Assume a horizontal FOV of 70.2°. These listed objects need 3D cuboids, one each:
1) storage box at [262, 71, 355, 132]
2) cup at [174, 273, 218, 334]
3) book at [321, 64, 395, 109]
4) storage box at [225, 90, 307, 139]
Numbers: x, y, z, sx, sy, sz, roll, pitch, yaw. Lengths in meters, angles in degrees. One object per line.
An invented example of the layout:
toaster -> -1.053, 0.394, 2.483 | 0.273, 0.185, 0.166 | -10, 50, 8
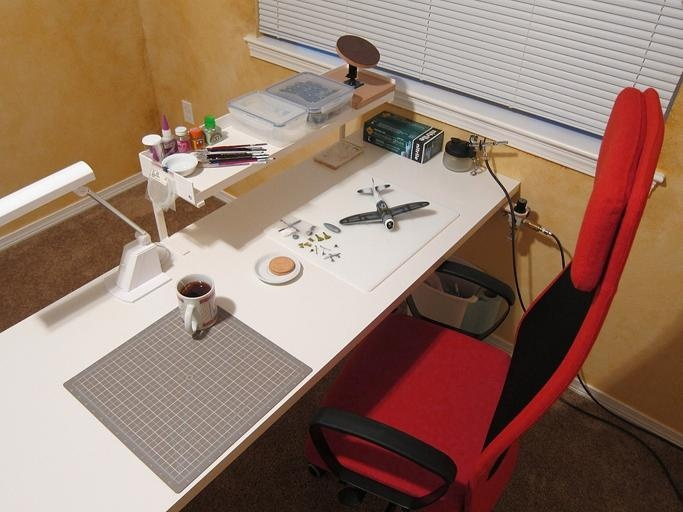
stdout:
storage box -> -0.107, -0.618, 1.843 | 0.245, 0.073, 0.247 | 31, 51, 28
cup -> -0.400, 0.132, 1.469 | 0.110, 0.132, 0.181 | 3, 45, 1
book -> 0.100, -0.685, 2.001 | 0.257, 0.062, 0.245 | 37, 53, 25
storage box -> -0.256, -0.508, 1.733 | 0.233, 0.092, 0.175 | 31, 55, 25
